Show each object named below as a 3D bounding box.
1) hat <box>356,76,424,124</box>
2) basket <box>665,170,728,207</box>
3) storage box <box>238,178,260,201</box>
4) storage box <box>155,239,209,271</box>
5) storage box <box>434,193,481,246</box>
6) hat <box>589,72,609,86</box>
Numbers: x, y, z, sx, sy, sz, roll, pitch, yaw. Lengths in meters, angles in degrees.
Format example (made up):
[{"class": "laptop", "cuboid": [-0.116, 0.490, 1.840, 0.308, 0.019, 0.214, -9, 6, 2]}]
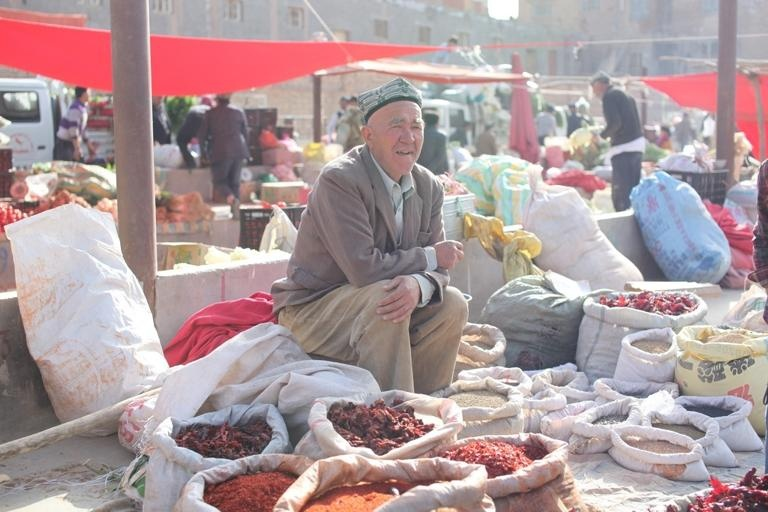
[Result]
[{"class": "hat", "cuboid": [0.041, -1.307, 8.032, 0.516, 0.363, 0.230, -1, 11, -3]}, {"class": "basket", "cuboid": [4.065, -0.848, 12.295, 0.731, 0.322, 0.436, -1, 3, -42]}, {"class": "storage box", "cuboid": [-2.041, -0.988, 14.560, 0.387, 0.320, 0.271, 0, 0, -34]}, {"class": "storage box", "cuboid": [-2.105, 0.002, 9.850, 0.680, 0.310, 0.365, 10, 15, 43]}, {"class": "storage box", "cuboid": [0.608, -0.412, 10.205, 0.581, 0.469, 0.603, -1, 8, 45]}, {"class": "hat", "cuboid": [2.976, -2.441, 13.265, 0.184, 0.209, 0.202, -5, 11, -37]}]
